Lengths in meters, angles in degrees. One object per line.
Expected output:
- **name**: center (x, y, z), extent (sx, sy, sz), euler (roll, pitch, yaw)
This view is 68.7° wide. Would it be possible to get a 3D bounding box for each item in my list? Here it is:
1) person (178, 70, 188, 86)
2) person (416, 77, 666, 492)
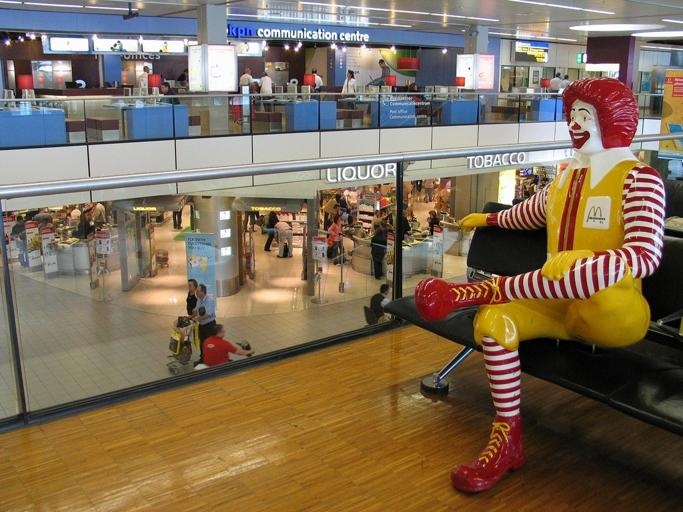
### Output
- **person**: center (-5.647, -6.319, 17.651), extent (0.332, 0.653, 1.163), euler (-6, 12, -16)
- **person**: center (0.814, 0.065, 1.980), extent (0.735, 1.490, 0.974), euler (7, 15, 34)
